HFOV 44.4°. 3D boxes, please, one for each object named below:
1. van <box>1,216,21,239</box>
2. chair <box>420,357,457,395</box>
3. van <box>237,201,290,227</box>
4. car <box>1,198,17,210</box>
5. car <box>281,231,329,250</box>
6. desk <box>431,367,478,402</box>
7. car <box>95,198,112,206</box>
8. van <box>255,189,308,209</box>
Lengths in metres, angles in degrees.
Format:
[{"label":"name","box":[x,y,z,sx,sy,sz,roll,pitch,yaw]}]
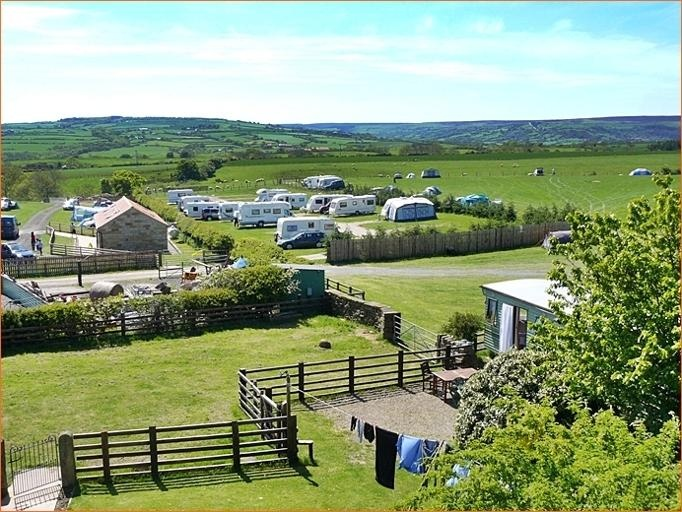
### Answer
[{"label":"van","box":[-26.307,-2.154,66.111,1.910,1.659,3.122,-1,17,-21]},{"label":"chair","box":[3.482,4.605,31.575,1.035,1.414,1.023,2,5,39]},{"label":"van","box":[-6.432,-3.293,69.590,3.965,1.728,2.052,-4,13,-16]},{"label":"car","box":[-36.371,-5.496,91.386,1.558,1.037,3.100,-2,6,-12]},{"label":"car","box":[-2.717,-1.019,58.785,3.078,0.937,1.309,1,1,-12]},{"label":"desk","box":[4.053,4.678,31.013,1.994,0.883,1.025,-7,24,-20]},{"label":"car","box":[-22.768,-4.986,80.230,1.730,0.776,2.264,-3,11,-18]},{"label":"van","box":[-5.223,-5.688,79.898,3.128,1.126,2.988,-7,12,-30]}]
